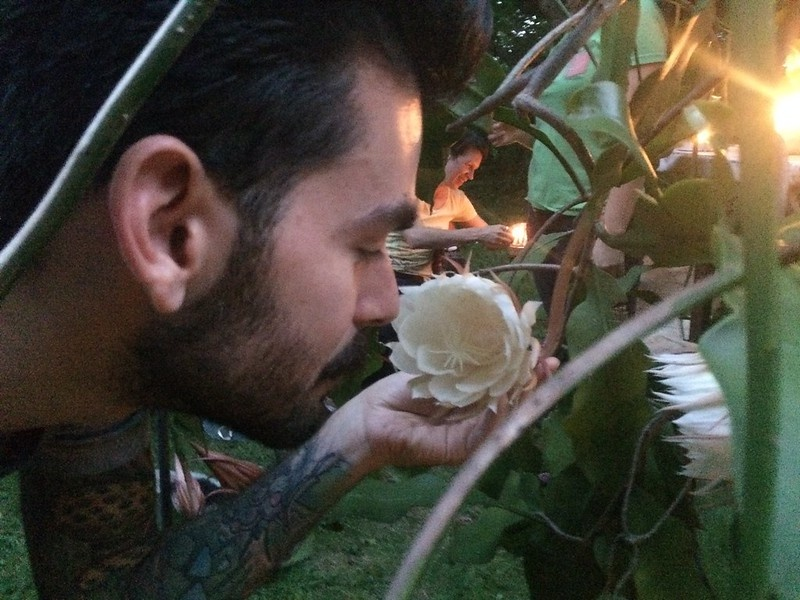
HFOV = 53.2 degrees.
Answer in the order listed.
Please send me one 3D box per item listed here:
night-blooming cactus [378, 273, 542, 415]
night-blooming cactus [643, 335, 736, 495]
[{"bbox_3d":[0.051,0.037,0.669,0.128,0.123,0.061,11,10,11],"label":"night-blooming cactus"},{"bbox_3d":[0.208,0.086,0.570,0.081,0.101,0.031,18,13,41],"label":"night-blooming cactus"}]
